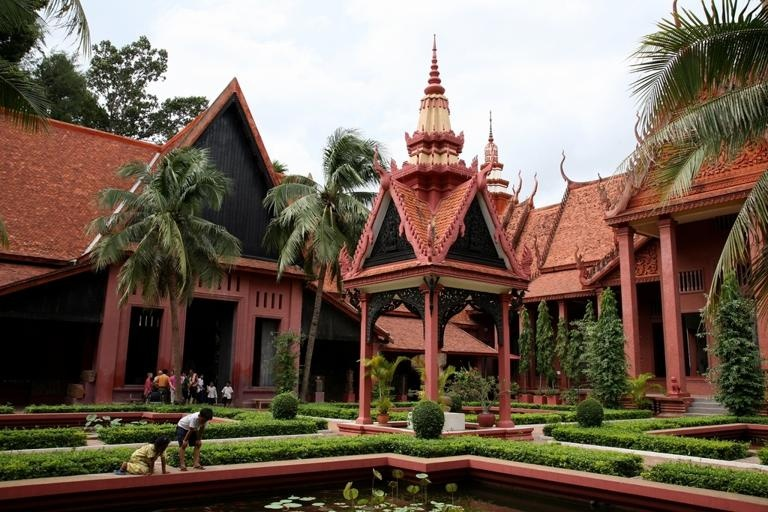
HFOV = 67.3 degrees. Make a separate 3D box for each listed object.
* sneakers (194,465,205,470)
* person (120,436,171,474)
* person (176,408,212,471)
[{"bbox_3d":[-3.312,3.743,10.328,0.178,0.057,0.070,-2,-8,10],"label":"sneakers"},{"bbox_3d":[-4.212,3.475,10.173,0.739,0.661,0.571,4,-12,-3],"label":"person"},{"bbox_3d":[-3.541,3.323,10.712,0.592,0.910,1.176,1,4,-18],"label":"person"}]
